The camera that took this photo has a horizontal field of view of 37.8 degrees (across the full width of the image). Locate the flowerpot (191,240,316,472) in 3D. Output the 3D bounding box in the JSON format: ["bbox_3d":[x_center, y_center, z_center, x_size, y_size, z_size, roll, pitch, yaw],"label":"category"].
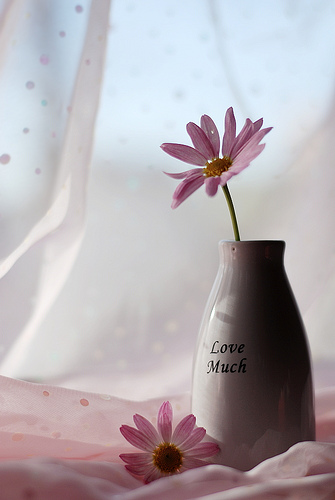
[{"bbox_3d":[0.089,0.109,0.519,0.121,0.237,0.059,0,-14,4],"label":"flowerpot"}]
